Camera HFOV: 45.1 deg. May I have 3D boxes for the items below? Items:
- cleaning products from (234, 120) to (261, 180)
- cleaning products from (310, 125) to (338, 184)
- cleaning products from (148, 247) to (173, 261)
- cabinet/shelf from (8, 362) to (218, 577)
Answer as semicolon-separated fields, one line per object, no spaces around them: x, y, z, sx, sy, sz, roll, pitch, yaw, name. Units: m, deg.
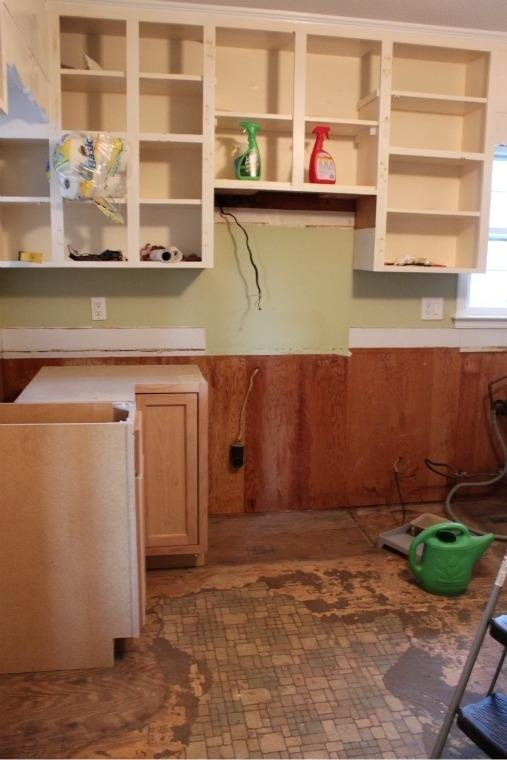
-0.026;-0.960;2.589;0.095;0.233;0.124;-3;9;-29;cleaning products
0.298;-0.971;2.657;0.114;0.256;0.108;3;8;14;cleaning products
-0.382;-0.517;2.509;0.053;0.038;0.090;2;10;-17;cleaning products
-0.519;0.323;2.556;0.769;0.748;0.802;-1;9;-4;cabinet/shelf
